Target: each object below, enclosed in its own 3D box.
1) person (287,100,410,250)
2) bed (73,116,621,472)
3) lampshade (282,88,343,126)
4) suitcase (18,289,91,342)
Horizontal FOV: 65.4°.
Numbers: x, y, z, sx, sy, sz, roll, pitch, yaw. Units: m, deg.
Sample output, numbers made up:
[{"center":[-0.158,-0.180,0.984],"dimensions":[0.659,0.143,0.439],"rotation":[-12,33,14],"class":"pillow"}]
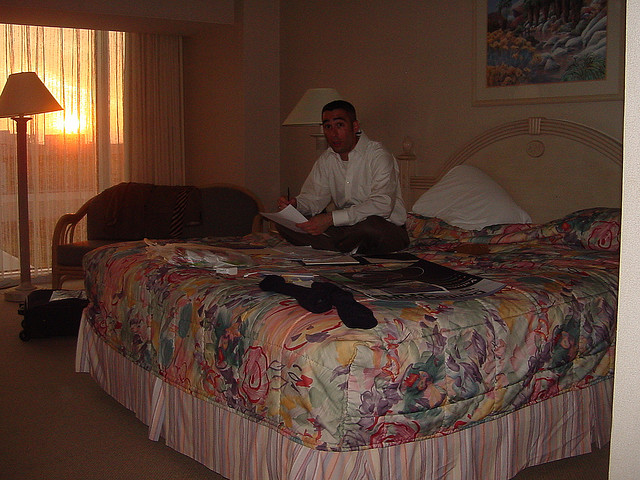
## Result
[{"center":[0.156,-0.358,3.076],"dimensions":[0.805,0.951,0.716],"rotation":[0,1,36],"class":"person"},{"center":[0.171,0.160,2.145],"dimensions":[1.808,1.005,1.727],"rotation":[-2,8,-28],"class":"bed"},{"center":[-0.077,-1.055,3.986],"dimensions":[0.367,0.190,0.368],"rotation":[3,5,34],"class":"lampshade"},{"center":[-1.715,0.472,3.224],"dimensions":[0.454,0.248,0.549],"rotation":[-2,14,-16],"class":"suitcase"}]
